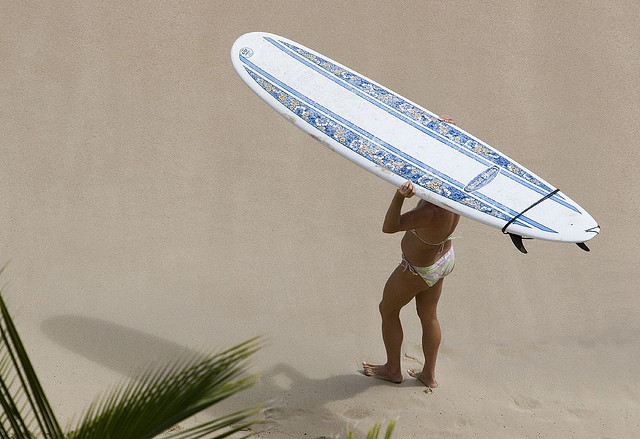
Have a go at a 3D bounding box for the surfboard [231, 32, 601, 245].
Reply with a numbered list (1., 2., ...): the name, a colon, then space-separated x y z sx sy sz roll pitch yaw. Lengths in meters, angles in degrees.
1. surfboard: 0.934 -0.560 10.644 3.021 0.750 0.326 31 -28 9

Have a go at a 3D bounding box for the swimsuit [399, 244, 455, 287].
1. swimsuit: 0.994 0.456 10.543 0.418 0.394 0.403 18 22 28
